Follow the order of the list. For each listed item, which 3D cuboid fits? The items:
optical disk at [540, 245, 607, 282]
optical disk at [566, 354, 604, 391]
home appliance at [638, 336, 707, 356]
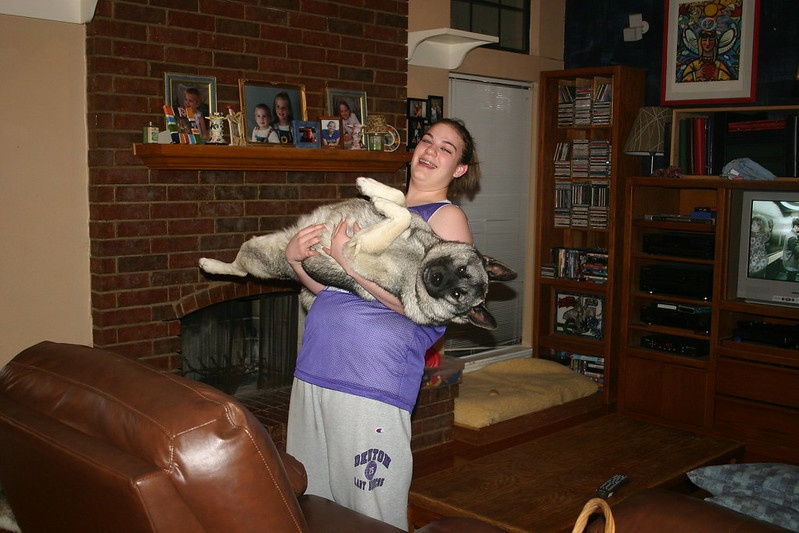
[{"bbox_3d":[1.588,-0.024,5.166,0.644,0.271,0.278,7,12,38],"label":"optical disk"},{"bbox_3d":[1.650,0.926,5.119,0.270,0.068,0.266,17,12,-36],"label":"optical disk"},{"bbox_3d":[2.158,0.615,4.551,0.172,0.063,0.295,1,3,-41],"label":"home appliance"}]
